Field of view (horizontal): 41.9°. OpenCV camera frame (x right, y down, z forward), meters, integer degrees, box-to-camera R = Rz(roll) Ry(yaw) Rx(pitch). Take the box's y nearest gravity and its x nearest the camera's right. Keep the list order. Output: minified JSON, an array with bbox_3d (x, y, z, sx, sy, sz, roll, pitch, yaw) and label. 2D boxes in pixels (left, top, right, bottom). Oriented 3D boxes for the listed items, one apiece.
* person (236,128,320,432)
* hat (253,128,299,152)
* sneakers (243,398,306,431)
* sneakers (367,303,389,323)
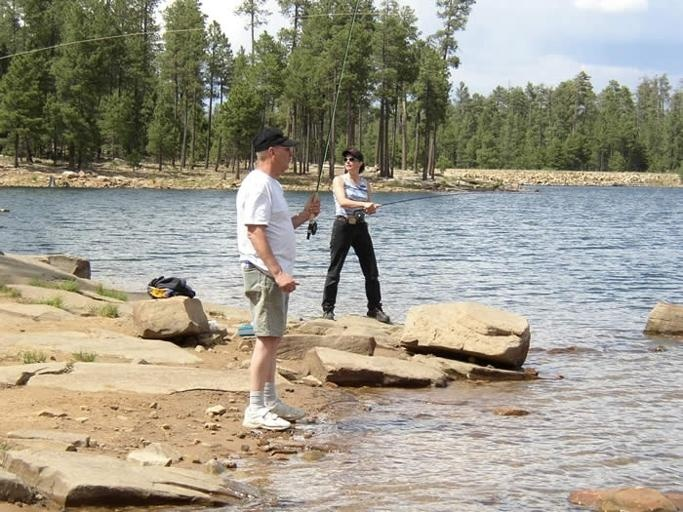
[{"bbox_3d":[-0.689,0.203,8.851,0.719,2.926,0.882,3,8,3],"label":"person"},{"bbox_3d":[-0.641,-1.141,8.688,0.416,0.157,0.230,-1,10,-9],"label":"hat"},{"bbox_3d":[-0.693,1.560,8.798,0.660,0.220,0.207,1,12,-8],"label":"sneakers"},{"bbox_3d":[0.637,0.835,13.157,0.461,0.215,0.163,4,4,37],"label":"sneakers"}]
